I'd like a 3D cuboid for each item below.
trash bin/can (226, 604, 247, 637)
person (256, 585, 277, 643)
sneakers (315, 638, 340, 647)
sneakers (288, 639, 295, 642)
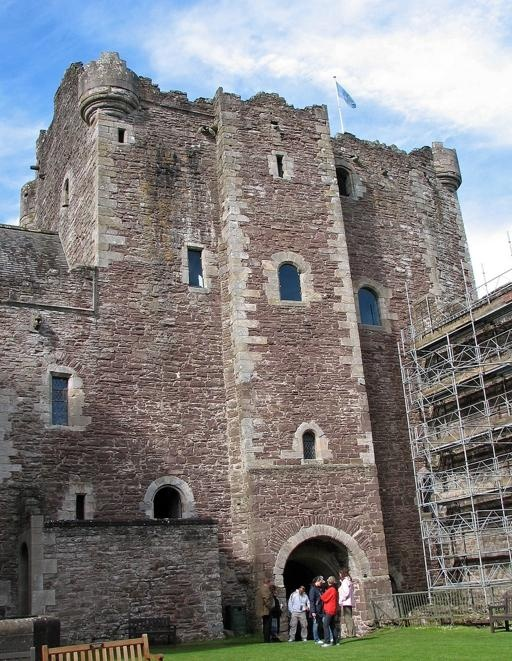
[{"bbox_3d":[-0.416,6.156,15.647,0.517,0.713,0.491,11,-22,-26],"label":"trash bin/can"},{"bbox_3d":[0.210,5.514,14.382,0.355,1.101,0.919,-6,-17,0],"label":"person"},{"bbox_3d":[1.256,5.561,12.997,0.443,0.147,0.140,0,-4,-9],"label":"sneakers"},{"bbox_3d":[0.704,6.161,14.599,0.078,0.077,0.190,-3,-27,13],"label":"sneakers"}]
